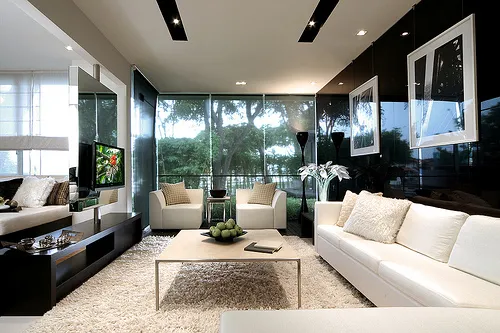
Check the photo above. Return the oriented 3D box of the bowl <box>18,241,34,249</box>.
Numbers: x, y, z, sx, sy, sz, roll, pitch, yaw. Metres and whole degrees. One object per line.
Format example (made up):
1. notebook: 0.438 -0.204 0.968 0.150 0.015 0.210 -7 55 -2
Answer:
1. bowl: -2.535 0.886 3.597 0.135 0.064 0.112 -6 12 -27

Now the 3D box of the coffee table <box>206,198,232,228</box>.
1. coffee table: -0.678 0.990 6.961 0.567 0.611 0.588 1 -3 -11

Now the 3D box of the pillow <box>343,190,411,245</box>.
1. pillow: 1.642 0.624 4.036 0.174 0.583 0.577 34 -10 -26

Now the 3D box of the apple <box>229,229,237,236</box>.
1. apple: -0.217 0.837 4.078 0.077 0.077 0.074 21 -8 -12

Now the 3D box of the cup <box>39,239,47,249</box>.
1. cup: -2.420 0.892 3.704 0.079 0.112 0.083 3 3 0

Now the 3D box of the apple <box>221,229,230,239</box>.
1. apple: -0.299 0.844 3.983 0.097 0.107 0.101 2 1 3

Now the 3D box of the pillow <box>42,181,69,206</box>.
1. pillow: -3.017 0.422 4.897 0.346 0.314 0.137 -3 -5 19

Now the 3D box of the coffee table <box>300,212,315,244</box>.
1. coffee table: 1.042 1.106 5.662 0.188 0.369 0.577 1 -3 1

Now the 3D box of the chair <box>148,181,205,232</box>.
1. chair: -1.472 0.815 6.539 0.894 0.756 0.971 -1 1 -6

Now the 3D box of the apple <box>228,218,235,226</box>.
1. apple: -0.265 0.723 4.165 0.085 0.100 0.109 -24 -18 19

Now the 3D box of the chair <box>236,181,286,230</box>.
1. chair: 0.228 0.789 6.520 0.895 0.800 0.946 1 -10 1

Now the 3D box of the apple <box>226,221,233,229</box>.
1. apple: -0.261 0.750 4.078 0.082 0.090 0.081 1 2 15

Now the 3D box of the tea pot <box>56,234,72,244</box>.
1. tea pot: -2.245 0.879 3.855 0.100 0.050 0.141 0 1 -2

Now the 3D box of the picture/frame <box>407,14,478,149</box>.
1. picture/frame: 2.365 -0.982 3.833 0.201 1.488 0.915 -4 11 -17

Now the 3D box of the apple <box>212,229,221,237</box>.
1. apple: -0.426 0.837 4.027 0.089 0.092 0.096 -10 2 -16

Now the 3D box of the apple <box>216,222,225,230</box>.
1. apple: -0.371 0.763 4.112 0.083 0.092 0.086 -1 2 -16

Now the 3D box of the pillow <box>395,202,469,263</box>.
1. pillow: 2.055 0.748 3.533 0.247 0.413 0.549 40 -13 -16

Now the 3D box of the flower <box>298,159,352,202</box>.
1. flower: 1.345 0.218 5.767 0.763 0.740 0.810 1 -4 -11

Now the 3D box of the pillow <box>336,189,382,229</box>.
1. pillow: 1.644 0.663 4.730 0.170 0.575 0.581 21 -6 -15

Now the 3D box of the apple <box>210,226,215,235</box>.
1. apple: -0.499 0.831 4.124 0.078 0.100 0.082 1 3 15
